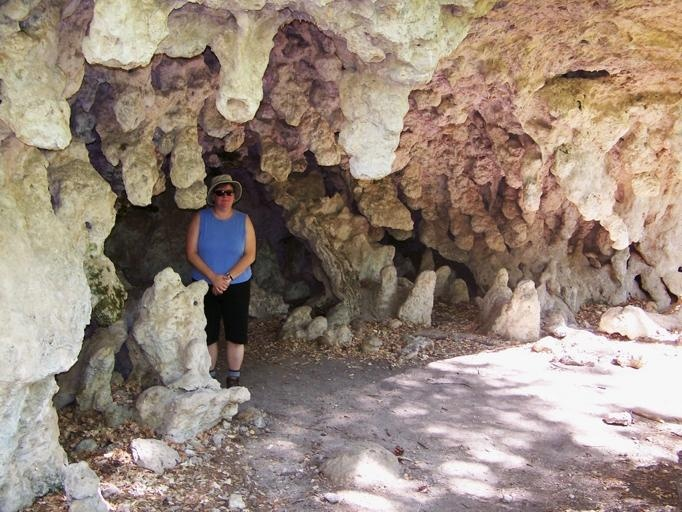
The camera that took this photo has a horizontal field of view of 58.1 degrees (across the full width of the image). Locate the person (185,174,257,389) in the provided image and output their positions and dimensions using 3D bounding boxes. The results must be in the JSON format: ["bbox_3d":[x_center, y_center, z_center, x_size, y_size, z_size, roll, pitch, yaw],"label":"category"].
[{"bbox_3d":[-0.959,0.227,4.865,0.522,1.718,0.509,1,14,1],"label":"person"}]

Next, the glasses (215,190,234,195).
[{"bbox_3d":[-0.903,-0.486,4.721,0.132,0.044,0.039,-2,14,-12],"label":"glasses"}]

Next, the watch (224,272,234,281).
[{"bbox_3d":[-0.864,0.167,4.723,0.057,0.022,0.044,43,-1,11],"label":"watch"}]
